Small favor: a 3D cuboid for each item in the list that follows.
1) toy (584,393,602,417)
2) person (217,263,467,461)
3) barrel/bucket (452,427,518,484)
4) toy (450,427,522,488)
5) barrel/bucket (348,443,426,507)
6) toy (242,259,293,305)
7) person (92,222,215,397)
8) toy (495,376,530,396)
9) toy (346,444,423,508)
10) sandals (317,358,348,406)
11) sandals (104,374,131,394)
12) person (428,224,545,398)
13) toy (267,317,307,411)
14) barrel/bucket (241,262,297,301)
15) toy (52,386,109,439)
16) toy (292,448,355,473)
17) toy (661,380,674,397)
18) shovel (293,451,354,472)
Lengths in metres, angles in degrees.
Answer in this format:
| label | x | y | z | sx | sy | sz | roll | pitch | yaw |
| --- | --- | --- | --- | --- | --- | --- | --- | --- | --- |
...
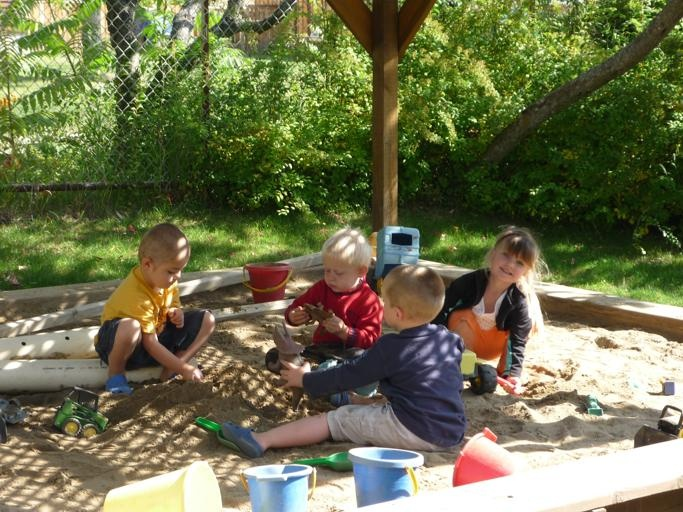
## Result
| label | x | y | z | sx | sy | sz | roll | pitch | yaw |
| --- | --- | --- | --- | --- | --- | --- | --- | --- | --- |
| toy | 1.395 | 0.831 | 3.831 | 0.075 | 0.052 | 0.205 | 4 | 15 | 12 |
| person | 0.067 | 0.569 | 3.799 | 1.313 | 0.907 | 0.831 | -7 | -2 | 28 |
| barrel/bucket | 0.629 | 0.867 | 3.036 | 0.172 | 0.214 | 0.227 | 15 | 36 | 10 |
| toy | 0.628 | 0.869 | 3.016 | 0.200 | 0.226 | 0.242 | 15 | 36 | 7 |
| barrel/bucket | 0.204 | 0.892 | 2.973 | 0.272 | 0.209 | 0.284 | -2 | 0 | 0 |
| toy | -0.587 | 0.204 | 5.281 | 0.338 | 0.234 | 0.317 | 0 | 0 | 4 |
| person | -1.070 | 0.294 | 3.995 | 0.683 | 0.946 | 0.481 | 2 | 12 | -17 |
| toy | 1.021 | 0.786 | 4.169 | 0.043 | 0.053 | 0.186 | -37 | 45 | -26 |
| toy | 0.190 | 0.898 | 2.954 | 0.272 | 0.210 | 0.284 | -2 | 1 | 21 |
| sandals | -0.010 | 0.682 | 3.753 | 0.238 | 0.223 | 0.231 | 3 | -21 | 1 |
| sandals | -1.279 | 0.728 | 3.949 | 0.132 | 0.079 | 0.201 | 1 | 11 | -20 |
| person | 0.897 | 0.349 | 4.469 | 0.790 | 1.045 | 0.720 | 9 | -6 | 24 |
| toy | -0.342 | 0.584 | 3.874 | 0.193 | 0.500 | 0.267 | 0 | -33 | -25 |
| barrel/bucket | -0.574 | 0.184 | 5.367 | 0.321 | 0.233 | 0.324 | 1 | 1 | 0 |
| toy | -1.335 | 0.805 | 3.542 | 0.261 | 0.212 | 0.247 | 5 | 0 | -22 |
| toy | -0.087 | 0.956 | 3.305 | 0.274 | 0.045 | 0.154 | -4 | 5 | -9 |
| toy | 1.939 | 0.784 | 4.093 | 0.078 | 0.072 | 0.075 | -1 | -2 | -1 |
| shovel | -0.097 | 0.980 | 3.308 | 0.267 | 0.044 | 0.157 | -2 | 5 | -11 |
